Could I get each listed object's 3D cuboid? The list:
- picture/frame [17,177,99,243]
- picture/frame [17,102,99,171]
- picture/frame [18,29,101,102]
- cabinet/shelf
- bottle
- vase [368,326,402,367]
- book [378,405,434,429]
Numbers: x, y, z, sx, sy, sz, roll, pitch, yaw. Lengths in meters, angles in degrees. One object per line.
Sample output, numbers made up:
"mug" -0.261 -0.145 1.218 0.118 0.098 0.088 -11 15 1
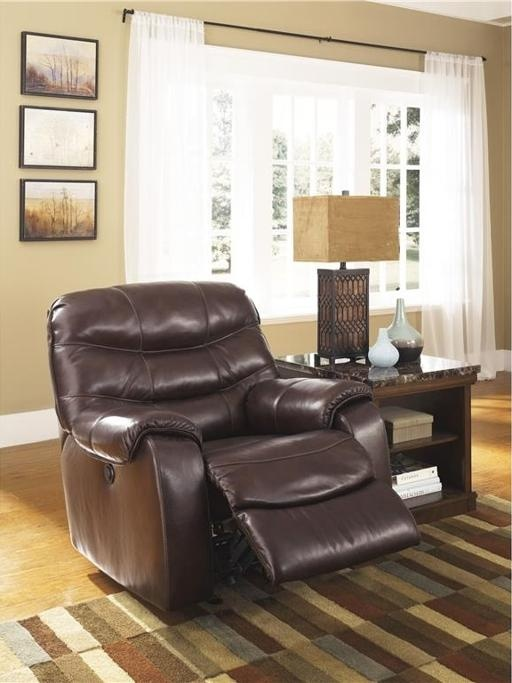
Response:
"picture/frame" -1.122 -0.743 3.410 0.404 0.310 0.019 -4 8 -37
"picture/frame" -1.111 -1.135 3.373 0.444 0.336 0.020 -4 6 -36
"picture/frame" -1.070 -1.506 3.366 0.449 0.322 0.024 10 14 13
"cabinet/shelf" 0.499 0.374 2.543 0.476 0.584 0.695 -4 5 -26
"bottle" 0.530 -0.039 2.372 0.256 0.333 0.260 1 0 0
"vase" 0.487 0.014 2.349 0.139 0.180 0.135 -1 -3 13
"book" 0.563 0.288 2.305 0.132 0.030 0.121 -2 4 -29
